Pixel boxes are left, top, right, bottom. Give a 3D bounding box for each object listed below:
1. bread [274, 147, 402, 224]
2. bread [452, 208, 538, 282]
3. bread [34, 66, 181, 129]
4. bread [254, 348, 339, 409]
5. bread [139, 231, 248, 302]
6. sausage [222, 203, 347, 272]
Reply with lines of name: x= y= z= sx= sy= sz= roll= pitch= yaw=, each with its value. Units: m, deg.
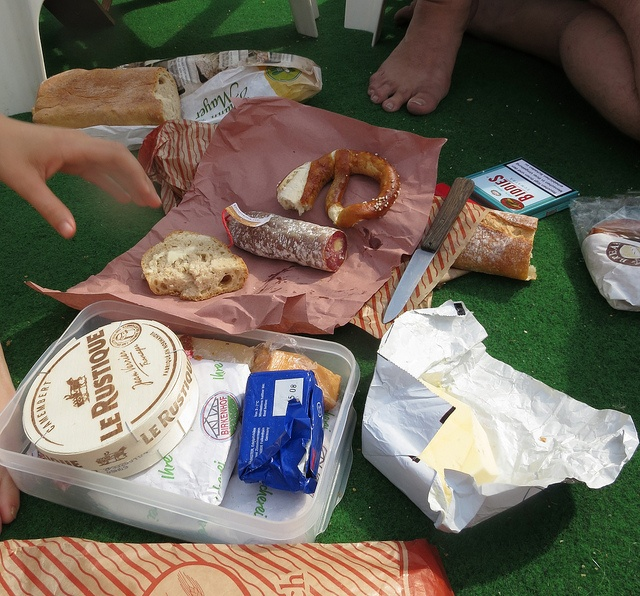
bread: x=0.093 y=-0.355 z=1.782 sx=0.350 sy=0.097 sz=0.375 roll=-36 pitch=48 yaw=-23
bread: x=0.521 y=-0.156 z=1.664 sx=0.210 sy=0.123 sz=0.171 roll=17 pitch=68 yaw=2
bread: x=-0.816 y=-0.743 z=2.167 sx=0.496 sy=0.168 sz=0.279 roll=-5 pitch=51 yaw=-6
bread: x=-0.075 y=0.185 z=1.435 sx=0.270 sy=0.241 sz=0.082 roll=4 pitch=98 yaw=-18
bread: x=-0.382 y=-0.106 z=1.651 sx=0.282 sy=0.179 sz=0.240 roll=-26 pitch=35 yaw=-35
sausage: x=-0.095 y=-0.163 z=1.694 sx=0.386 sy=0.160 sz=0.140 roll=19 pitch=108 yaw=19
